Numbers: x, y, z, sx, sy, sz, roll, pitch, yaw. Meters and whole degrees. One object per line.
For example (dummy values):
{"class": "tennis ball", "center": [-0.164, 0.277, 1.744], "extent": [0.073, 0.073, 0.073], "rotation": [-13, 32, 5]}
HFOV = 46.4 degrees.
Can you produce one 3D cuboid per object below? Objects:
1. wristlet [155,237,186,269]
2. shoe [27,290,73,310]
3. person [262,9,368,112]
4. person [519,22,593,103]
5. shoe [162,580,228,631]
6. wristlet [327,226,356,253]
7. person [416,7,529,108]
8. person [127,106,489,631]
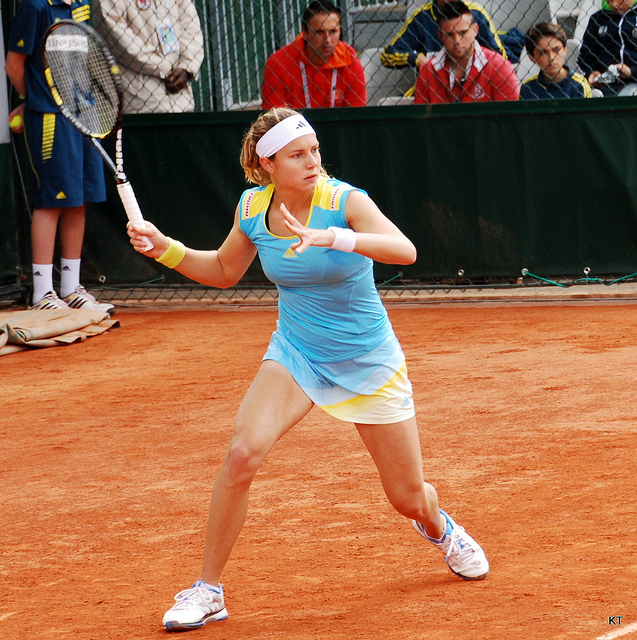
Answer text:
{"class": "wristlet", "center": [-0.469, -0.214, 2.455], "extent": [0.100, 0.080, 0.110], "rotation": [36, -2, 0]}
{"class": "shoe", "center": [-2.097, -0.147, 5.777], "extent": [0.298, 0.138, 0.256], "rotation": [-4, 10, -15]}
{"class": "person", "center": [-0.061, -2.102, 6.071], "extent": [0.868, 0.707, 0.423], "rotation": [-2, 12, 2]}
{"class": "person", "center": [1.936, -2.111, 6.063], "extent": [0.549, 0.643, 0.407], "rotation": [0, 12, 13]}
{"class": "shoe", "center": [-0.347, 0.805, 2.092], "extent": [0.178, 0.144, 0.100], "rotation": [-4, 12, -8]}
{"class": "wristlet", "center": [0.066, -0.205, 1.911], "extent": [0.087, 0.031, 0.054], "rotation": [12, 21, -20]}
{"class": "person", "center": [1.241, -2.145, 6.105], "extent": [0.877, 0.863, 0.842], "rotation": [0, 11, 10]}
{"class": "person", "center": [-0.163, 0.123, 2.156], "extent": [0.911, 1.464, 0.760], "rotation": [8, 16, 42]}
